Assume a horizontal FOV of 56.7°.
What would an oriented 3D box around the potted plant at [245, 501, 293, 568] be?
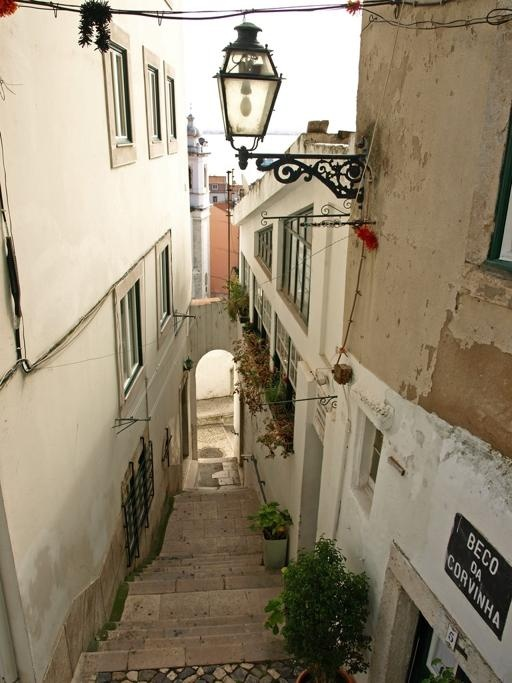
[{"bbox_3d":[0.229,2.826,6.857,0.487,0.974,0.578,-5,14,-19],"label":"potted plant"}]
